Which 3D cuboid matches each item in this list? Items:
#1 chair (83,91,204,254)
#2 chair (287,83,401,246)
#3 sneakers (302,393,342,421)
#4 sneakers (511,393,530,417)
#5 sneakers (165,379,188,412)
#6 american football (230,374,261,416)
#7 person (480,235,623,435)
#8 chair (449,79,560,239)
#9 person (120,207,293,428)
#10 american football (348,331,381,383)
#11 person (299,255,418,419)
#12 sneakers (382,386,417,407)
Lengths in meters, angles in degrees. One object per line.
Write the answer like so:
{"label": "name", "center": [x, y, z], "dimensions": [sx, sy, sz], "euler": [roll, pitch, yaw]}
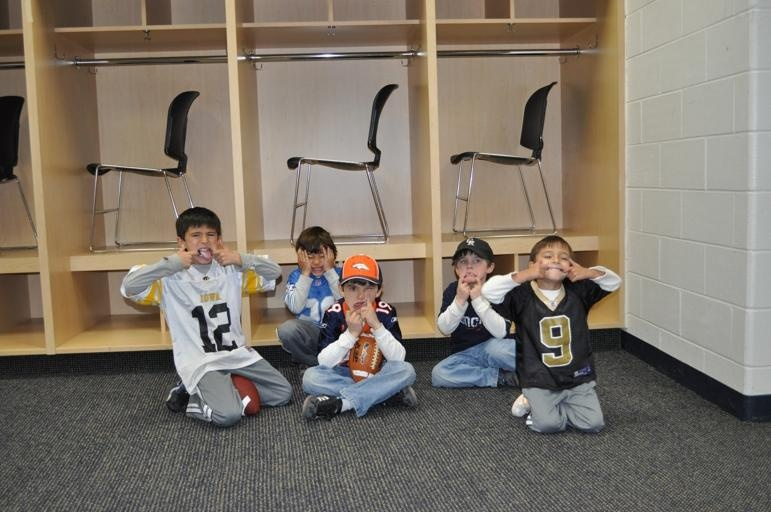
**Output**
{"label": "chair", "center": [-1.657, -0.590, 4.256], "dimensions": [0.648, 1.063, 0.581], "euler": [0, 3, -9]}
{"label": "chair", "center": [-0.271, -0.658, 4.843], "dimensions": [1.084, 1.547, 0.930], "euler": [3, 3, -2]}
{"label": "sneakers", "center": [-0.330, 0.774, 3.105], "dimensions": [0.090, 0.104, 0.203], "euler": [4, 6, 16]}
{"label": "sneakers", "center": [0.682, 0.759, 3.121], "dimensions": [0.054, 0.157, 0.063], "euler": [17, 20, 24]}
{"label": "sneakers", "center": [-1.119, 0.758, 3.318], "dimensions": [0.079, 0.199, 0.078], "euler": [-16, -37, 21]}
{"label": "american football", "center": [-0.727, 0.733, 3.235], "dimensions": [0.138, 0.192, 0.153], "euler": [-9, 16, -28]}
{"label": "person", "center": [0.815, 0.374, 3.030], "dimensions": [0.677, 0.890, 0.433], "euler": [1, 14, 11]}
{"label": "chair", "center": [0.900, -0.689, 4.534], "dimensions": [0.837, 1.084, 0.917], "euler": [-1, 14, 1]}
{"label": "person", "center": [-0.916, 0.307, 3.312], "dimensions": [0.738, 1.131, 0.649], "euler": [-3, 3, 25]}
{"label": "american football", "center": [-0.109, 0.540, 3.328], "dimensions": [0.146, 0.264, 0.089], "euler": [5, -1, -2]}
{"label": "person", "center": [-0.124, 0.409, 3.228], "dimensions": [0.564, 0.793, 0.789], "euler": [2, 9, 7]}
{"label": "sneakers", "center": [0.059, 0.753, 3.264], "dimensions": [0.209, 0.098, 0.074], "euler": [3, -3, -4]}
